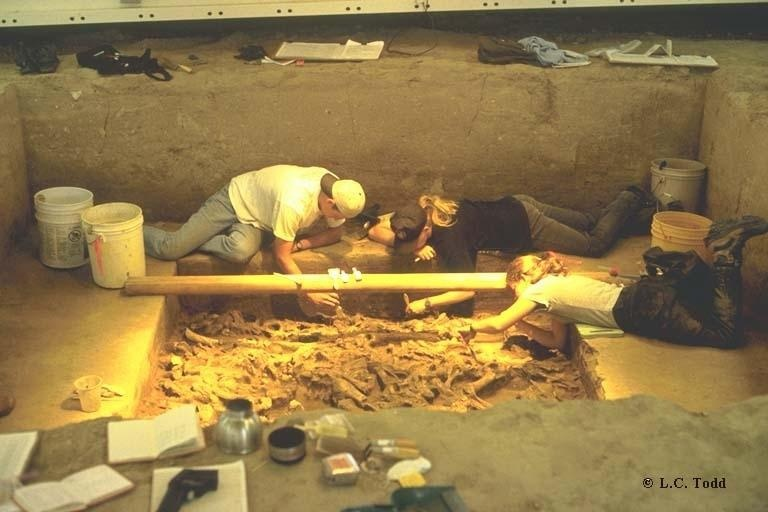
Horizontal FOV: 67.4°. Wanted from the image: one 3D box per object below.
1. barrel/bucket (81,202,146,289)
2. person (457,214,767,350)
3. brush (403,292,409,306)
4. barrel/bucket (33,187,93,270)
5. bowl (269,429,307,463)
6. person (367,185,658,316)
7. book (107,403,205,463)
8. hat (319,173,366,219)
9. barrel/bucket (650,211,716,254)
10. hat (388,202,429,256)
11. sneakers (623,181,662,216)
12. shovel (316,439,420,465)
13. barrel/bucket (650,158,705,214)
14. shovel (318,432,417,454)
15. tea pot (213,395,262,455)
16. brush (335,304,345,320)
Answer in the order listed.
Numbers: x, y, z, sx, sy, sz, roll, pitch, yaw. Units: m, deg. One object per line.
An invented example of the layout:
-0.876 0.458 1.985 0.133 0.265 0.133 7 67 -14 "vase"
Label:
-2.599 -0.091 5.520 0.643 0.665 0.654 2 32 -2 "barrel/bucket"
1.726 0.315 4.968 2.861 1.248 1.077 0 2 19 "person"
0.240 0.458 6.205 0.048 0.164 0.036 -17 24 7 "brush"
-3.171 -0.262 5.713 0.630 0.629 0.603 6 26 -3 "barrel/bucket"
-0.582 1.135 3.477 0.211 0.119 0.205 -1 20 0 "bowl"
1.451 -0.026 6.457 2.588 0.667 1.465 -3 39 0 "person"
-1.430 1.092 3.600 0.569 0.182 0.337 -7 27 -16 "book"
-0.438 -0.590 5.738 0.480 0.364 0.268 18 32 31 "hat"
2.938 -0.249 5.705 0.526 0.300 0.497 -2 25 1 "barrel/bucket"
0.255 -0.280 5.970 0.386 0.481 0.219 0 -10 36 "hat"
2.939 -0.635 6.593 0.438 0.101 0.257 39 56 20 "sneakers"
-0.106 1.175 3.550 0.645 0.100 0.211 2 14 -2 "shovel"
3.260 -0.809 6.614 0.660 0.573 0.601 -3 22 1 "barrel/bucket"
-0.103 1.149 3.562 0.633 0.094 0.193 1 7 -2 "shovel"
-0.918 1.055 3.580 0.299 0.288 0.258 -5 27 -12 "tea pot"
-0.459 0.595 6.079 0.039 0.128 0.140 6 11 38 "brush"
